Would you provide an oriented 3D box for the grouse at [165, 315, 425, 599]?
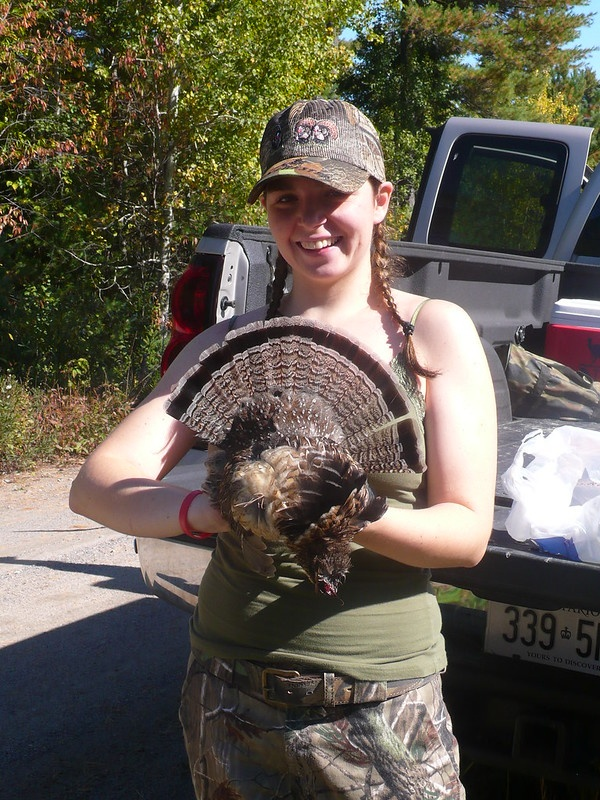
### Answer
[{"bbox_3d":[0.003,0.062,1.031,0.317,0.379,0.174,-16,-15,-12],"label":"grouse"}]

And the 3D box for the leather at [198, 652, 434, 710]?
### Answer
[{"bbox_3d":[0.010,0.471,1.162,0.188,0.046,0.138,3,-6,0],"label":"leather"}]
